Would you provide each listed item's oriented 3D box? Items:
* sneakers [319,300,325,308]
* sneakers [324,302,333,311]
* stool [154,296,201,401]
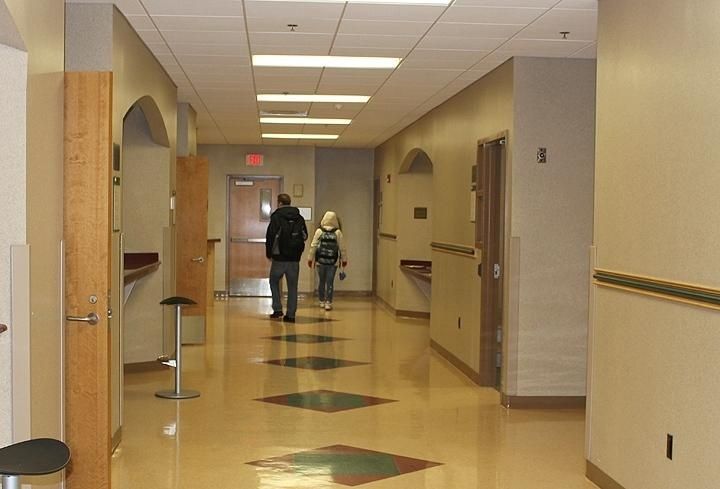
[{"bbox_3d":[-0.799,1.273,12.461,0.124,0.145,0.355,0,-8,-2],"label":"sneakers"},{"bbox_3d":[-0.662,1.301,12.257,0.114,0.125,0.325,-2,-9,-4],"label":"sneakers"},{"bbox_3d":[-2.139,1.118,6.778,0.474,1.105,1.186,0,4,-19],"label":"stool"}]
